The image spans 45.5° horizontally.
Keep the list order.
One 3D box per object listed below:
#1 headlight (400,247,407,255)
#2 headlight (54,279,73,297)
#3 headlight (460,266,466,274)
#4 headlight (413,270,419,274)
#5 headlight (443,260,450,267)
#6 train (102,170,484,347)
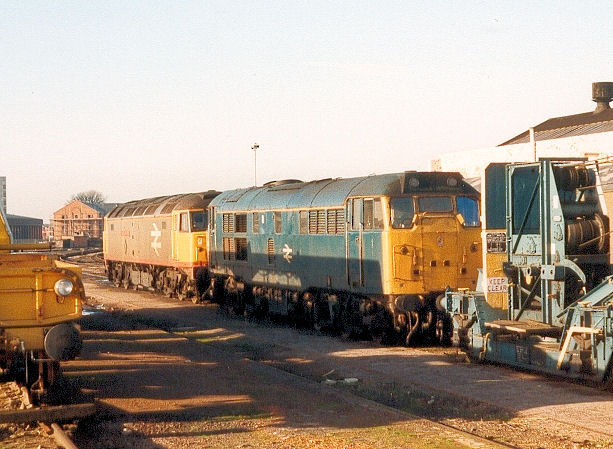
[{"bbox_3d":[2.343,0.646,17.848,0.136,0.166,0.035,1,-2,-16],"label":"headlight"},{"bbox_3d":[-3.685,0.926,11.128,0.274,0.344,0.215,2,-2,-41],"label":"headlight"},{"bbox_3d":[3.896,1.152,18.238,0.120,0.142,0.132,0,1,-2],"label":"headlight"},{"bbox_3d":[2.665,1.158,17.876,0.107,0.088,0.065,-1,4,2],"label":"headlight"},{"bbox_3d":[3.452,0.969,18.109,0.184,0.161,0.119,0,3,9],"label":"headlight"},{"bbox_3d":[-2.549,0.664,26.861,3.031,4.463,20.078,-1,1,-37],"label":"train"}]
